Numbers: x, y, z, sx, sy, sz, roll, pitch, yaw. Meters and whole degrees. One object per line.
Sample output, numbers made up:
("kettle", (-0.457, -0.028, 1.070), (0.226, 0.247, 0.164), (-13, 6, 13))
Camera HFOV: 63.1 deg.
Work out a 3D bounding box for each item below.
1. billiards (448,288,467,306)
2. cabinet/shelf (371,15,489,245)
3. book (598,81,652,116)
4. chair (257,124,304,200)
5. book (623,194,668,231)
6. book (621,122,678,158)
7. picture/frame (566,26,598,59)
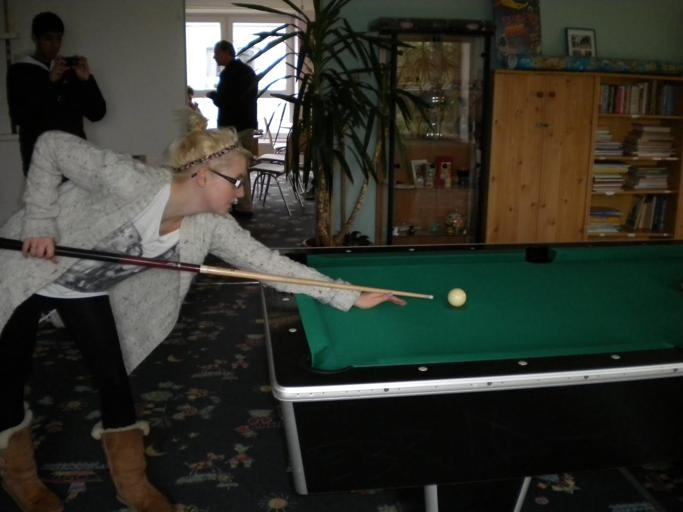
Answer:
("billiards", (0.437, 0.149, 2.097), (0.072, 0.064, 0.132), (2, 9, 12))
("cabinet/shelf", (0.871, -1.054, 5.121), (1.048, 2.016, 0.468), (3, 18, 11))
("book", (2.617, -1.438, 5.098), (0.529, 0.307, 0.161), (-4, 10, -24))
("chair", (-0.806, -1.039, 6.746), (0.497, 0.765, 0.456), (6, 12, 2))
("book", (2.943, -0.429, 5.499), (0.382, 0.465, 0.350), (1, 7, -10))
("book", (2.903, -1.076, 5.263), (0.347, 0.147, 0.401), (1, 8, 6))
("picture/frame", (2.243, -1.960, 5.118), (0.358, 0.285, 0.164), (-5, 10, -30))
